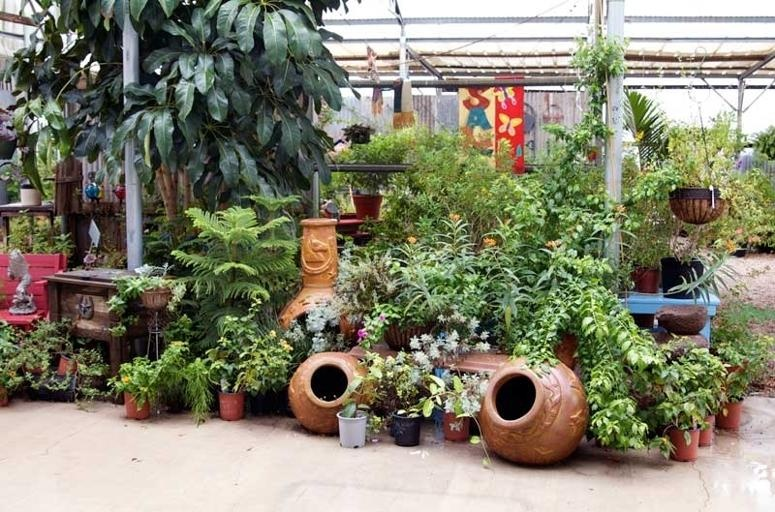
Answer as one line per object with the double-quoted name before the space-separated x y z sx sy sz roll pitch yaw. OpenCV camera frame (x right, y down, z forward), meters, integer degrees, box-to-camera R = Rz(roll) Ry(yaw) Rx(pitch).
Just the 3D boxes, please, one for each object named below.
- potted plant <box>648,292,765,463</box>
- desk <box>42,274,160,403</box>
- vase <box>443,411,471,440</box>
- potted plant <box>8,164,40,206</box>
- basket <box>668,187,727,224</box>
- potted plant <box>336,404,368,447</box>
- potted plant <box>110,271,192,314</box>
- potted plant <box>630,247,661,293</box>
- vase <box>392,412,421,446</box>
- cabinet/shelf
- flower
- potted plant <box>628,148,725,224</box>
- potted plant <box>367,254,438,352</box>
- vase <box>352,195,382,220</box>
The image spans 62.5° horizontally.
"potted plant" 2.592 0.925 5.588 1.234 1.363 1.045 3 -7 -20
"desk" -2.664 0.649 6.169 0.888 0.960 0.732 6 8 13
"vase" 0.553 1.378 5.270 0.208 0.231 0.210 1 -2 -30
"potted plant" -4.267 -0.904 7.609 0.297 0.509 0.866 -9 17 -29
"basket" 2.658 -0.454 5.535 0.337 0.245 0.346 0 0 -22
"potted plant" -0.269 1.378 5.257 0.265 0.249 0.303 0 -1 -6
"potted plant" -2.118 0.216 5.676 0.479 0.267 0.373 3 11 8
"potted plant" 2.304 0.183 5.800 0.249 0.221 0.254 -2 -2 18
"vase" 0.154 1.401 5.225 0.232 0.198 0.219 1 1 27
"cabinet/shelf" -0.310 -0.771 7.129 1.040 0.568 0.704 -1 15 -3
"flower" 0.325 0.918 5.326 1.076 0.817 0.688 1 15 3
"potted plant" 2.603 -0.505 5.705 0.714 0.412 0.434 7 7 19
"potted plant" 0.156 0.515 5.604 0.528 0.579 0.567 21 34 39
"vase" -0.225 -0.589 7.520 0.303 0.243 0.319 -1 4 -13
